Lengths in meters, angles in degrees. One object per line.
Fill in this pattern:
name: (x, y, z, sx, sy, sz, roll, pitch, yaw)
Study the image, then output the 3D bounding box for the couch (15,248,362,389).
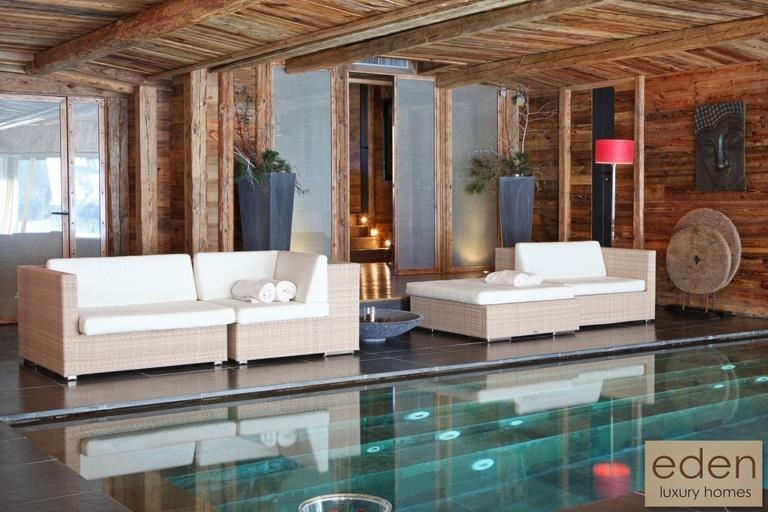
couch: (-2.014, 0.529, 6.110, 3.087, 1.087, 1.092, -2, 7, -25)

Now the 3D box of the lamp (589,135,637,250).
lamp: (3.506, -0.872, 9.002, 0.594, 1.748, 0.499, -1, 5, 0)

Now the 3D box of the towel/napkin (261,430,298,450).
towel/napkin: (-0.733, 1.276, 4.097, 0.246, 0.009, 0.333, -1, 5, -10)

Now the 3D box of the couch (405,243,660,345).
couch: (2.090, 0.397, 7.773, 2.984, 1.105, 1.137, -3, 7, -28)

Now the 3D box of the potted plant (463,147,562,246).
potted plant: (2.281, -1.104, 10.542, 1.403, 1.757, 1.786, 0, 6, -6)

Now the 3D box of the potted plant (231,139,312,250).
potted plant: (-1.708, -0.810, 8.358, 0.848, 1.440, 0.485, 0, 7, 0)

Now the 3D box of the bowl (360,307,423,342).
bowl: (0.074, 0.834, 7.102, 0.744, 0.345, 0.745, 0, 5, 0)
